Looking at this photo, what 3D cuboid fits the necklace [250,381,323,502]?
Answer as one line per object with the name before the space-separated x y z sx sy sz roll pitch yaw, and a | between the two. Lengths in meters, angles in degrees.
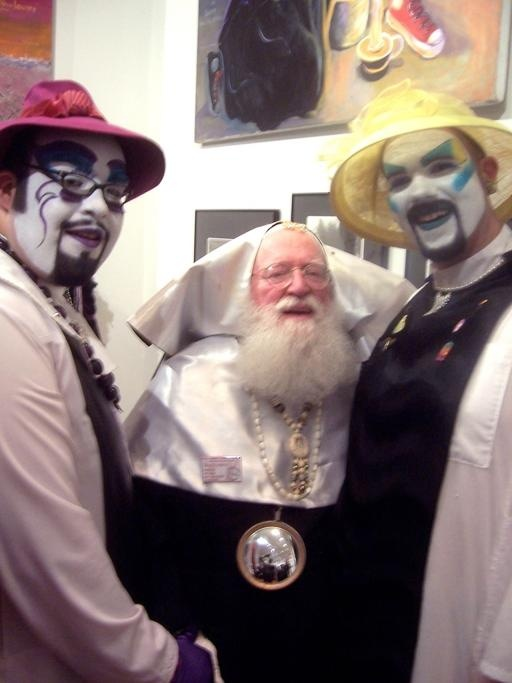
necklace | 0.108 0.327 1.894 0.229 0.213 0.289 -4 28 0
